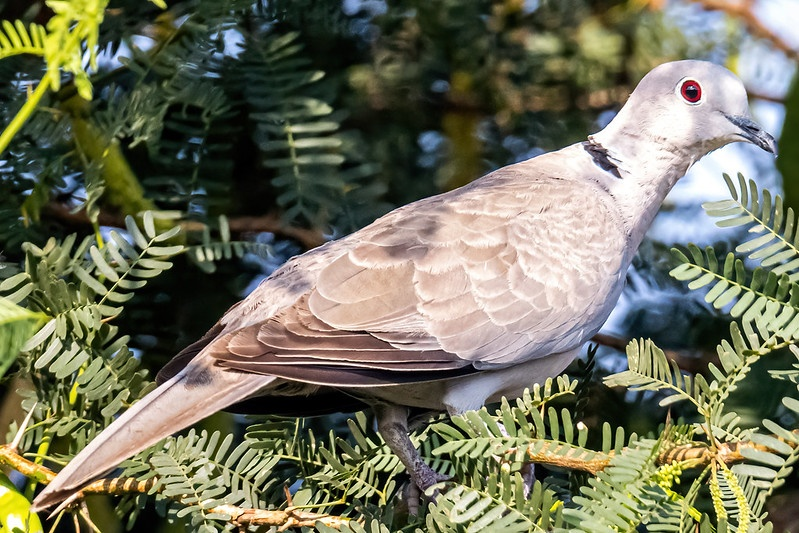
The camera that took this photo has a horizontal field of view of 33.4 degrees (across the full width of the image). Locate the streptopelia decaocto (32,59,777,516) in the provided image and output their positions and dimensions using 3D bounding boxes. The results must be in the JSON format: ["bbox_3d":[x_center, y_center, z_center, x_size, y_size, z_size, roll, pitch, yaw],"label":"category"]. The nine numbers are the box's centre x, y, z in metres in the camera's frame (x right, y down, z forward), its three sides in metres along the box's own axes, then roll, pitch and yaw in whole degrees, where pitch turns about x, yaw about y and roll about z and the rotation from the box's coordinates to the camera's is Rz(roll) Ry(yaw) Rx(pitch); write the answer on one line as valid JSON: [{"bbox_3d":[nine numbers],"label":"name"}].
[{"bbox_3d":[0.113,0.007,3.946,2.072,1.142,0.756,-12,37,-35],"label":"streptopelia decaocto"}]
